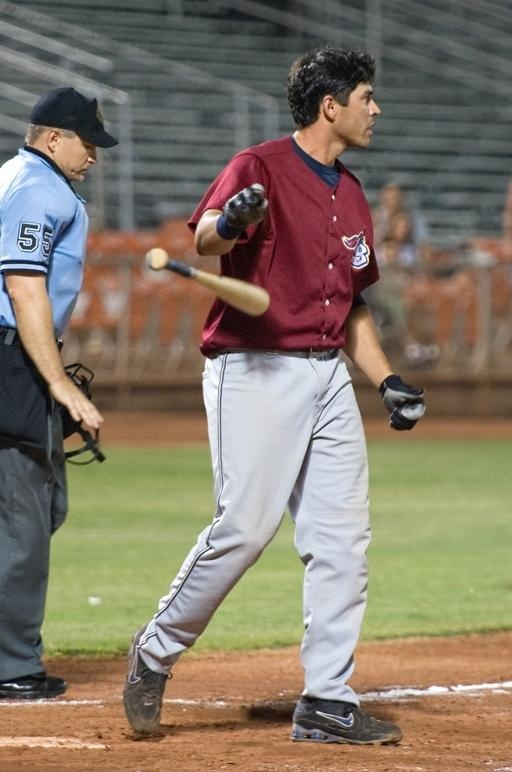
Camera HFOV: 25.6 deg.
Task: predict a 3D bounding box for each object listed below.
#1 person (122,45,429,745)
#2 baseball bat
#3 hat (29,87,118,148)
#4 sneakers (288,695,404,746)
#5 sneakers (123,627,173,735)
[{"bbox_3d":[0.098,0.012,3.161,0.762,1.989,0.495,0,5,-29],"label":"person"},{"bbox_3d":[-0.132,-0.265,2.873,0.357,0.147,0.132,0,4,-38],"label":"baseball bat"},{"bbox_3d":[-0.590,-0.864,3.662,0.302,0.151,0.179,15,14,-16],"label":"hat"},{"bbox_3d":[0.235,0.946,3.202,0.353,0.132,0.117,1,-5,0],"label":"sneakers"},{"bbox_3d":[-0.311,0.850,3.276,0.149,0.301,0.116,-13,-21,40],"label":"sneakers"}]
